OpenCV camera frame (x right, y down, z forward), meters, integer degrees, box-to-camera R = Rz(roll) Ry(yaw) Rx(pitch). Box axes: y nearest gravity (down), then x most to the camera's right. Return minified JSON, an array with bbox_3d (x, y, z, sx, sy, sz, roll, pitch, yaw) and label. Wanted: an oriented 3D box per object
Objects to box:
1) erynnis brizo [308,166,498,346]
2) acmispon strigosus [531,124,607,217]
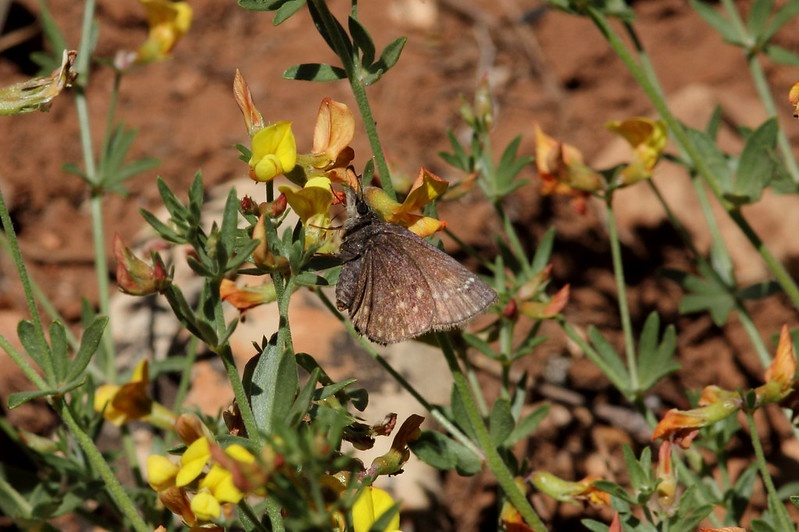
[{"bbox_3d":[0.034,-0.108,5.032,0.844,0.996,0.885,-3,105,-12],"label":"erynnis brizo"},{"bbox_3d":[0.888,-0.493,5.039,0.330,0.171,0.478,-42,78,7],"label":"acmispon strigosus"}]
